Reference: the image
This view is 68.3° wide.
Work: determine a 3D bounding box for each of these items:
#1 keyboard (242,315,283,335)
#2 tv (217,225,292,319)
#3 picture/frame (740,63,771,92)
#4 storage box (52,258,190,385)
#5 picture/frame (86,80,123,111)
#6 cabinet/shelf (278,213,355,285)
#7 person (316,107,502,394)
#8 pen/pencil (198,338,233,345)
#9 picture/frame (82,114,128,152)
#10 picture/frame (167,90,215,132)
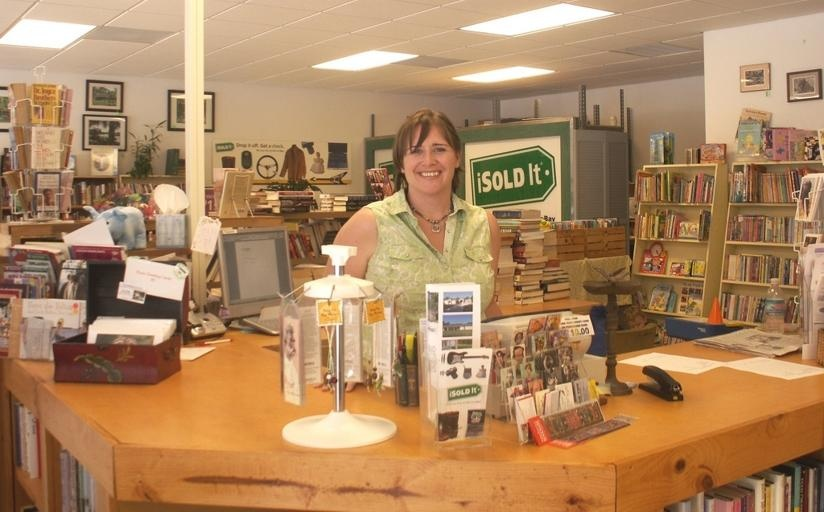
[{"bbox_3d":[-0.816,0.387,3.350,0.205,0.045,0.220,18,15,40],"label":"keyboard"},{"bbox_3d":[-0.931,0.105,3.570,0.557,0.581,0.222,-1,-8,-41],"label":"tv"},{"bbox_3d":[4.112,-2.127,7.239,0.044,0.354,0.385,-2,5,-36],"label":"picture/frame"},{"bbox_3d":[-1.285,0.291,2.732,0.529,0.418,0.484,0,7,-18],"label":"storage box"},{"bbox_3d":[-4.873,-2.542,9.608,0.557,0.497,0.040,-1,1,-26],"label":"picture/frame"},{"bbox_3d":[-1.171,-0.065,6.848,0.860,0.764,0.449,-4,4,-40],"label":"cabinet/shelf"},{"bbox_3d":[0.050,-0.183,2.817,0.802,0.961,0.555,-1,12,-3],"label":"person"},{"bbox_3d":[-1.046,0.461,3.231,0.171,0.023,0.025,-2,2,-26],"label":"pen/pencil"},{"bbox_3d":[-4.885,-1.959,9.629,0.673,0.591,0.047,0,0,-22],"label":"picture/frame"},{"bbox_3d":[-3.706,-2.441,10.289,0.800,0.700,0.243,-3,12,-17],"label":"picture/frame"}]
